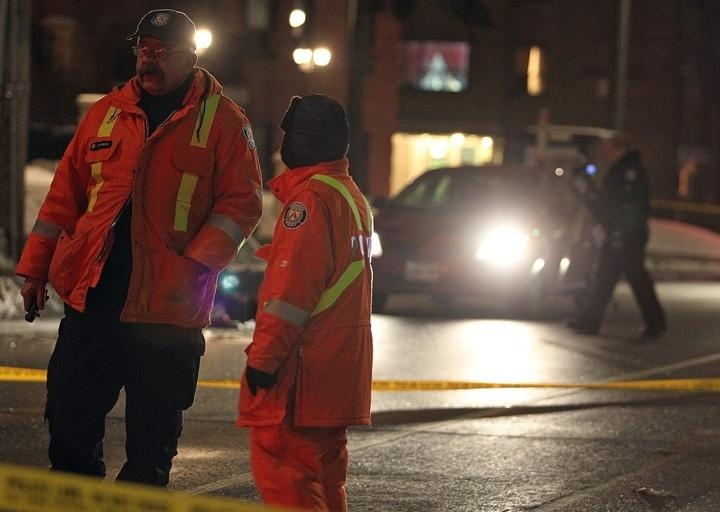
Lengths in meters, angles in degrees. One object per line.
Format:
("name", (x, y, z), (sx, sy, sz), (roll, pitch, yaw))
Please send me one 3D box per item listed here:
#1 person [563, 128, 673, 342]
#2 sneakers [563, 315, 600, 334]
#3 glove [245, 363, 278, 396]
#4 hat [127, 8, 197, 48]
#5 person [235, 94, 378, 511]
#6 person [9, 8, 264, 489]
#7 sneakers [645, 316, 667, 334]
("person", (1.853, -0.097, 8.485), (0.659, 1.405, 0.577), (7, 1, 12))
("sneakers", (1.509, 0.475, 8.328), (0.249, 0.123, 0.058), (7, 1, 42))
("glove", (-0.508, 0.617, 6.169), (0.162, 0.130, 0.123), (0, 3, 8))
("hat", (-1.065, -1.220, 6.541), (0.219, 0.135, 0.296), (4, -3, 38))
("person", (-0.223, 0.236, 6.257), (0.665, 2.067, 0.349), (6, 1, -5))
("person", (-1.171, -0.061, 6.551), (1.229, 2.435, 0.356), (6, 1, -5))
("sneakers", (1.998, 0.471, 8.257), (0.102, 0.071, 0.130), (-5, -10, 13))
